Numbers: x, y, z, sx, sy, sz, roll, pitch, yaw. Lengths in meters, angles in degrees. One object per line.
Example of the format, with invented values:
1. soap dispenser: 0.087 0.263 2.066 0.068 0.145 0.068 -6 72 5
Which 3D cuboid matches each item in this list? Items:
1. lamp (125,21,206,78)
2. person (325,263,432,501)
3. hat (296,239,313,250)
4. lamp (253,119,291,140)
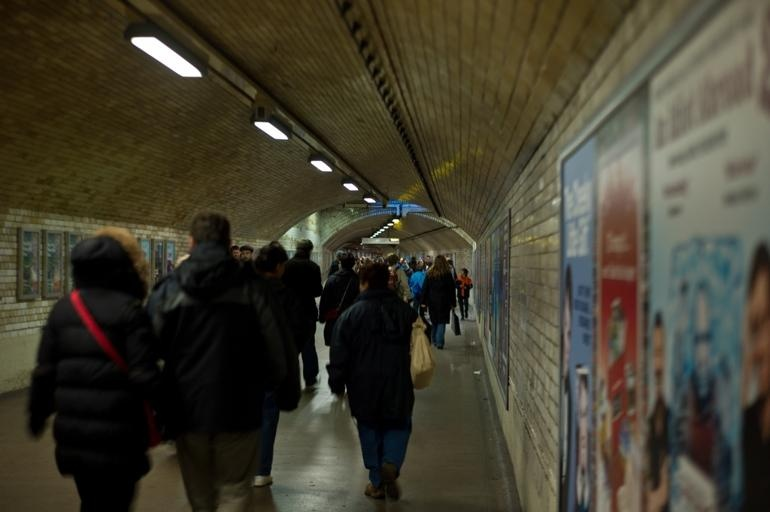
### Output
1. lamp: -2.014 -1.884 4.912 0.342 0.081 0.600 -2 -16 20
2. person: -0.041 1.066 4.506 0.867 1.992 0.539 0 2 6
3. hat: -1.081 -0.151 7.051 0.157 0.124 0.180 -2 1 2
4. lamp: -1.481 -1.756 7.013 0.252 0.087 0.511 3 -10 16
